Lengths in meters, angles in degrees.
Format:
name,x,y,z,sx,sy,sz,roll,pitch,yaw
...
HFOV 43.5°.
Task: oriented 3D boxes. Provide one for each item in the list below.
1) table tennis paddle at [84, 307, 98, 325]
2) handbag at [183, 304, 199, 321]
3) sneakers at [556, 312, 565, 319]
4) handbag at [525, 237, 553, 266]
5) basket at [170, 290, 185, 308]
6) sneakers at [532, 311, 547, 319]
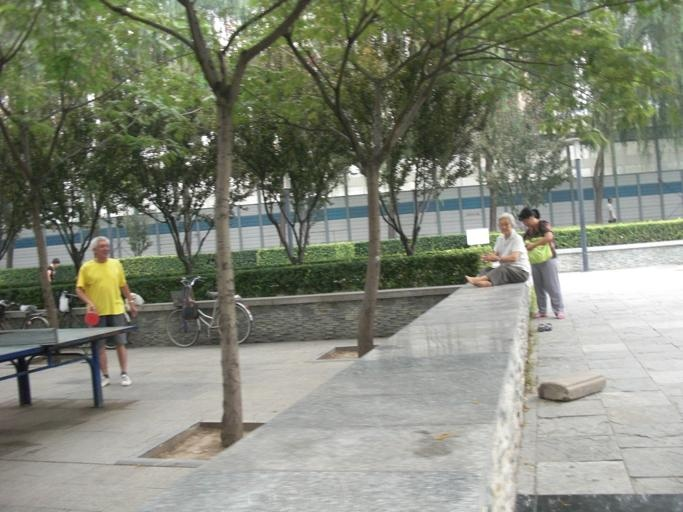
name,x,y,z,sx,sy,sz,roll,pitch,yaw
table tennis paddle,-3.687,0.890,12.633,0.195,0.229,0.330,-5,2,-15
handbag,-3.022,1.112,17.128,0.466,0.334,0.218,1,1,3
sneakers,3.616,0.983,14.147,0.133,0.098,0.287,-2,-5,8
handbag,3.156,-0.084,13.603,0.379,0.369,0.210,-38,5,9
basket,-3.292,0.846,17.295,0.350,0.286,0.136,-3,3,27
sneakers,3.320,0.991,14.266,0.271,0.089,0.102,7,-9,-40
